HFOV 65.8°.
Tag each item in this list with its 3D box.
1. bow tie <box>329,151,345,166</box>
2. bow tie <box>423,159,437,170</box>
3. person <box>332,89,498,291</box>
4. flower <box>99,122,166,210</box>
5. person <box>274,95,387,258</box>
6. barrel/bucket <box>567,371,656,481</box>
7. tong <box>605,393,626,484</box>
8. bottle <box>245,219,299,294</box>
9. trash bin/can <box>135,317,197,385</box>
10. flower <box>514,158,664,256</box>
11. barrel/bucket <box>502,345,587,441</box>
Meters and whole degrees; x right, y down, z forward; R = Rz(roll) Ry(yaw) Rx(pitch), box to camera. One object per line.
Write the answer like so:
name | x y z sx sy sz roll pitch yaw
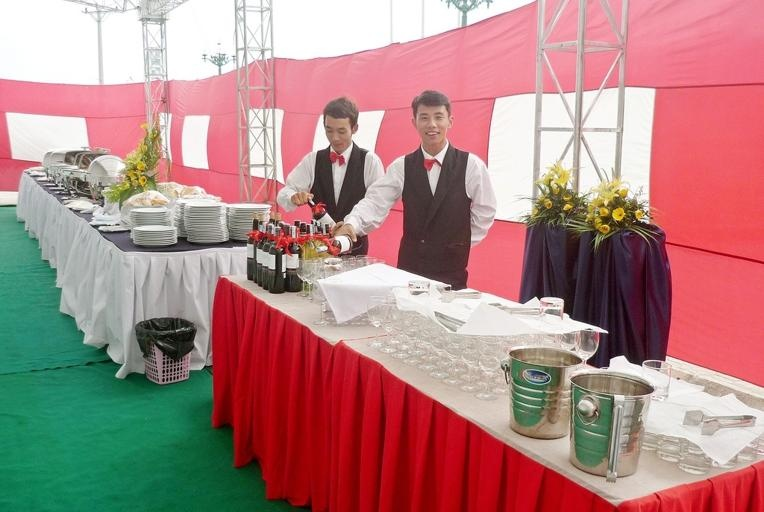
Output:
bow tie | -0.389 -0.853 5.147 0.113 0.124 0.043 1 4 2
bow tie | 0.355 -0.696 4.411 0.073 0.079 0.023 -1 47 1
person | 0.273 -0.490 4.787 1.025 1.635 0.758 1 15 -16
flower | -2.491 -0.913 6.042 0.564 1.123 0.595 -7 15 -30
person | -0.385 -0.708 5.030 0.761 1.615 0.699 -4 17 -17
barrel/bucket | 0.857 0.619 2.334 0.304 0.412 0.294 12 12 -3
tong | 0.859 0.672 2.173 0.050 0.332 0.039 3 11 12
bottle | -0.686 -0.011 3.731 0.254 0.597 0.240 1 7 0
trash bin/can | -1.734 0.726 4.736 0.460 0.554 0.353 -3 17 -26
flower | 1.619 -0.408 4.613 0.435 0.586 1.147 -5 12 -31
barrel/bucket | 0.589 0.499 2.490 0.455 0.425 0.222 -6 10 -45
